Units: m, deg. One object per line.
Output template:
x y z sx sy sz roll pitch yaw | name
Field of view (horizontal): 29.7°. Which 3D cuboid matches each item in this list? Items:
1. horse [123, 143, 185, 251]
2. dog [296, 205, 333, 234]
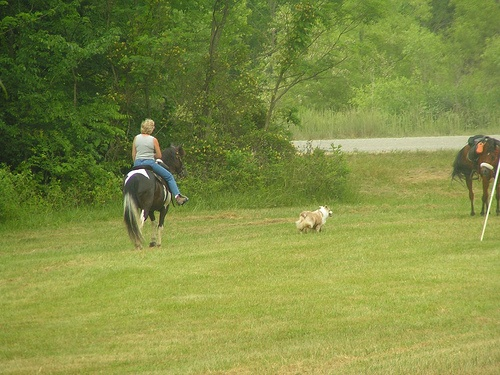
-3.556 0.429 33.749 1.290 3.349 3.224 2 8 9 | horse
2.318 1.199 34.819 1.510 0.968 0.813 -6 10 -42 | dog
